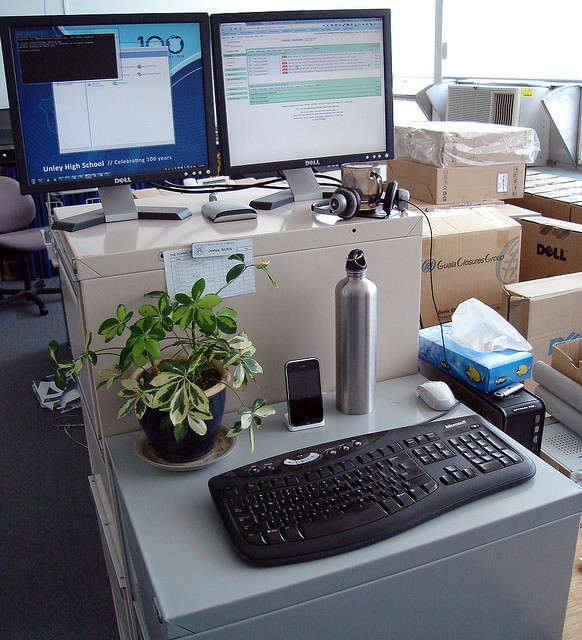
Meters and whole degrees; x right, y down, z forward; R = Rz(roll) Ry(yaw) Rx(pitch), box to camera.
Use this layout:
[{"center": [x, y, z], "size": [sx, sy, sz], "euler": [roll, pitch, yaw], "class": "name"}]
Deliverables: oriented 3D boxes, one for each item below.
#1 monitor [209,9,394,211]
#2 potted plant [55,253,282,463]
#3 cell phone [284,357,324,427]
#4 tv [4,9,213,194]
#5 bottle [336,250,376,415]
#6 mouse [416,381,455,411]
[{"center": [0.037, -0.470, 1.057], "size": [0.396, 0.299, 0.056], "euler": [-10, 18, -18], "class": "monitor"}, {"center": [-0.192, 0.063, 0.817], "size": [0.294, 0.299, 0.370], "euler": [0, 21, -10], "class": "potted plant"}, {"center": [0.023, 0.128, 0.922], "size": [0.061, 0.131, 0.013], "euler": [-8, 24, -4], "class": "cell phone"}, {"center": [-0.321, -0.394, 0.916], "size": [0.294, 0.299, 0.024], "euler": [-10, 20, -23], "class": "tv"}, {"center": [0.114, 0.027, 0.922], "size": [0.073, 0.303, 0.048], "euler": [-1, 17, 7], "class": "bottle"}, {"center": [0.278, 0.137, 0.993], "size": [0.056, 0.040, 0.088], "euler": [-9, 21, -14], "class": "mouse"}]
